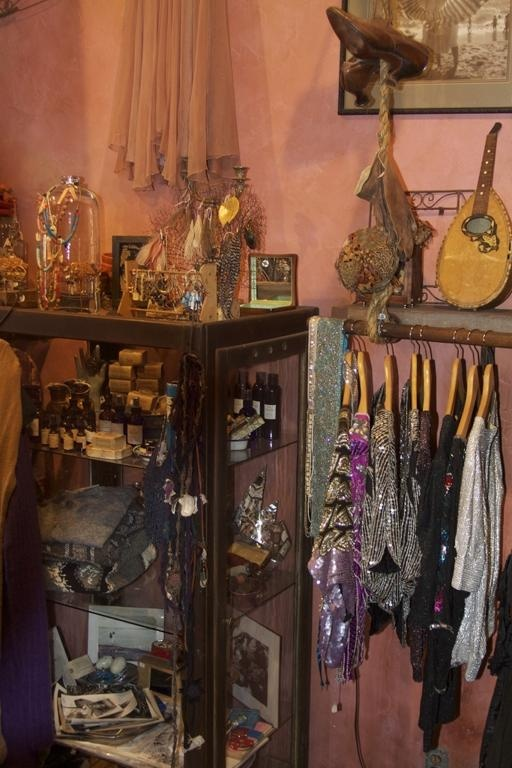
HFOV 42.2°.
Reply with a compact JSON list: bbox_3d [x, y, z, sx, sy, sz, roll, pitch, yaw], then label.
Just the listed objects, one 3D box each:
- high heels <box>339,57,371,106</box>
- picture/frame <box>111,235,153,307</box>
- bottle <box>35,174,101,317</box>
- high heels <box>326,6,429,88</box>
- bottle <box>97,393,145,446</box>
[{"bbox_3d":[0.210,-0.628,1.384,0.053,0.033,0.092,0,-37,1],"label":"high heels"},{"bbox_3d":[-0.297,-0.277,1.606,0.030,0.247,0.171,-8,16,-39],"label":"picture/frame"},{"bbox_3d":[-0.455,-0.347,1.620,0.152,0.338,0.215,-1,5,-18],"label":"bottle"},{"bbox_3d":[0.234,-0.633,1.226,0.232,0.084,0.080,-3,6,-38],"label":"high heels"},{"bbox_3d":[-0.334,0.093,1.667,0.109,0.153,0.043,2,-1,4],"label":"bottle"}]
